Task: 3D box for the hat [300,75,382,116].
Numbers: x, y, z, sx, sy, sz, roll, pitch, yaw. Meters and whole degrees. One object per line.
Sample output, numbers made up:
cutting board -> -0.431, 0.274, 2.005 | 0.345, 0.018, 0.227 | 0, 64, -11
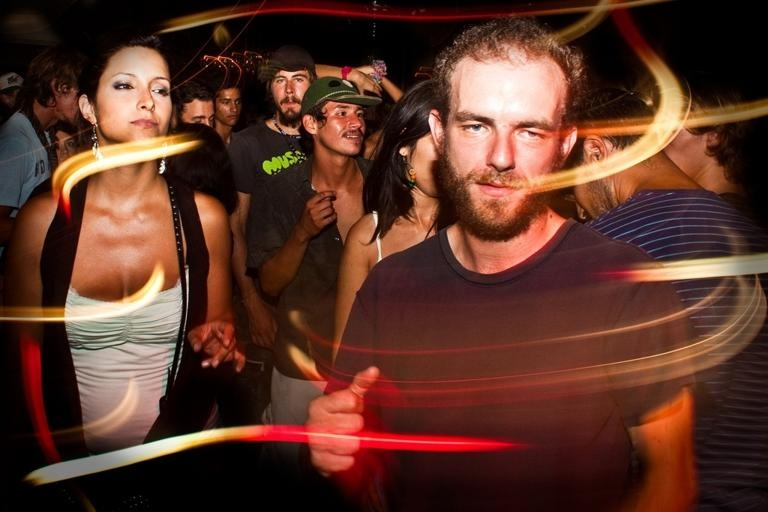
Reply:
hat -> -0.388, -1.433, 5.246 | 0.578, 0.263, 0.383 | -14, 2, 22
